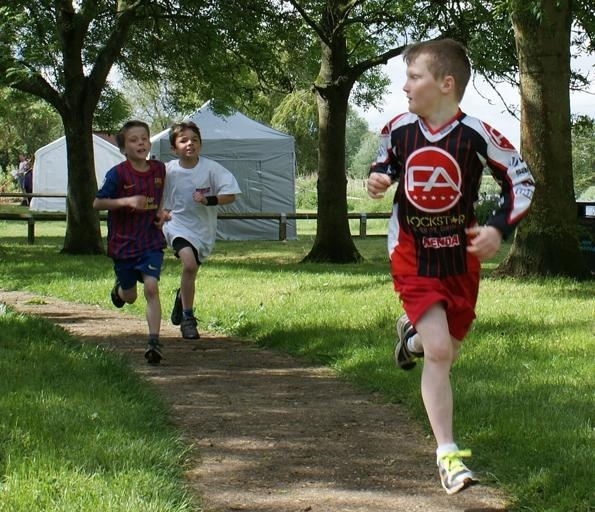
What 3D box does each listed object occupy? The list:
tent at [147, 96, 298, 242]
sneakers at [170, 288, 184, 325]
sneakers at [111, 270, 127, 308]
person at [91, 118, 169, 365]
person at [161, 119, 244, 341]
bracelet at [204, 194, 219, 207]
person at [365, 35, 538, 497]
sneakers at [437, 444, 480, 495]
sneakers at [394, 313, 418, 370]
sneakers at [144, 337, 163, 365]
[{"bbox_3d":[-1.689,-2.800,23.196,3.841,2.688,3.978,2,15,27],"label":"tent"},{"bbox_3d":[-1.160,0.536,7.795,0.127,0.419,0.157,-7,18,-30],"label":"sneakers"},{"bbox_3d":[-1.609,0.360,7.110,0.126,0.192,0.424,0,-1,-13],"label":"sneakers"},{"bbox_3d":[-1.376,-0.116,6.637,0.568,2.022,0.837,-2,5,-10],"label":"person"},{"bbox_3d":[-0.903,-0.221,7.346,0.669,2.008,0.498,-2,5,-11],"label":"person"},{"bbox_3d":[-0.784,-0.500,7.185,0.102,0.076,0.047,9,8,40],"label":"bracelet"},{"bbox_3d":[0.777,0.027,4.179,0.887,2.365,0.608,0,5,18],"label":"person"},{"bbox_3d":[0.795,1.078,3.959,0.133,0.209,0.216,-2,6,-9],"label":"sneakers"},{"bbox_3d":[0.656,0.480,4.831,0.154,0.378,0.121,-21,-42,24],"label":"sneakers"},{"bbox_3d":[-1.178,0.774,6.484,0.133,0.261,0.286,-3,6,-12],"label":"sneakers"}]
